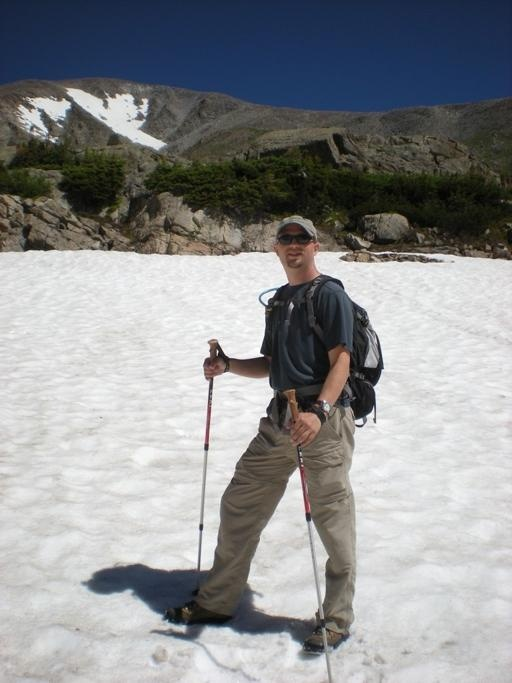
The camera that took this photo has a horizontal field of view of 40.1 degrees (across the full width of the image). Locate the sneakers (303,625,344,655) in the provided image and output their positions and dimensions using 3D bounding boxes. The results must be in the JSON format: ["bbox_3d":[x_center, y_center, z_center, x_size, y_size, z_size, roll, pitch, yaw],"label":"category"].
[{"bbox_3d":[0.344,1.523,3.556,0.280,0.099,0.105,7,-16,-19],"label":"sneakers"}]

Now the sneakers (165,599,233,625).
[{"bbox_3d":[-0.323,1.493,3.879,0.396,0.132,0.121,12,-18,-3],"label":"sneakers"}]

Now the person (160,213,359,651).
[{"bbox_3d":[0.146,0.455,3.741,0.980,2.234,0.903,6,13,22],"label":"person"}]

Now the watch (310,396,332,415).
[{"bbox_3d":[0.327,0.320,3.484,0.114,0.090,0.065,15,-16,-12],"label":"watch"}]
